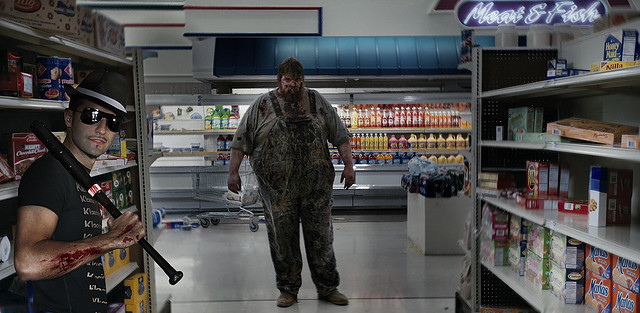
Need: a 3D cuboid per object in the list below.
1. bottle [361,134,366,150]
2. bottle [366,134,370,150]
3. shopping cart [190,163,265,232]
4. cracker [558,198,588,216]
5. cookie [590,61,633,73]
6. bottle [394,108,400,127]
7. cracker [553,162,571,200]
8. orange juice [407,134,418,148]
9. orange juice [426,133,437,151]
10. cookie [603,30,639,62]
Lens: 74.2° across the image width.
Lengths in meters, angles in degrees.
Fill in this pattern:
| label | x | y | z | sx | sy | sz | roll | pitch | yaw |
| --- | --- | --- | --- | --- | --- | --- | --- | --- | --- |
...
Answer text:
| label | x | y | z | sx | sy | sz | roll | pitch | yaw |
| --- | --- | --- | --- | --- | --- | --- | --- | --- | --- |
| bottle | 0.948 | -0.299 | 9.224 | 0.098 | 0.290 | 0.122 | 1 | 12 | 5 |
| bottle | 1.044 | -0.294 | 9.240 | 0.073 | 0.279 | 0.114 | -1 | 12 | 0 |
| shopping cart | -1.653 | 0.948 | 8.667 | 2.254 | 1.598 | 1.100 | 0 | 1 | 6 |
| cracker | 2.545 | 0.504 | 4.264 | 0.259 | 0.119 | 0.235 | 5 | 12 | 26 |
| cookie | 2.575 | -0.809 | 3.774 | 0.199 | 0.090 | 0.317 | -6 | 12 | -29 |
| bottle | 1.686 | -0.839 | 9.281 | 0.112 | 0.349 | 0.135 | 1 | 12 | 9 |
| cracker | 2.578 | 0.249 | 4.506 | 0.140 | 0.372 | 0.225 | 6 | 13 | 29 |
| orange juice | 2.039 | -0.339 | 9.330 | 0.223 | 0.280 | 0.156 | 0 | 12 | 1 |
| orange juice | 2.463 | -0.318 | 9.348 | 0.233 | 0.367 | 0.230 | 1 | 12 | 7 |
| cookie | 2.686 | -0.988 | 3.771 | 0.245 | 0.276 | 0.162 | 5 | 13 | 26 |
